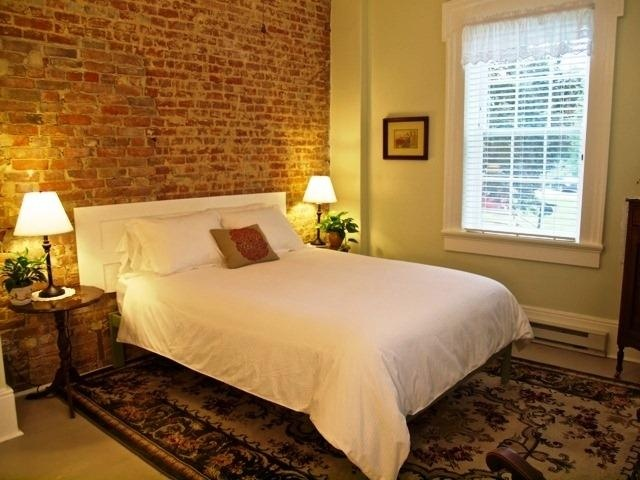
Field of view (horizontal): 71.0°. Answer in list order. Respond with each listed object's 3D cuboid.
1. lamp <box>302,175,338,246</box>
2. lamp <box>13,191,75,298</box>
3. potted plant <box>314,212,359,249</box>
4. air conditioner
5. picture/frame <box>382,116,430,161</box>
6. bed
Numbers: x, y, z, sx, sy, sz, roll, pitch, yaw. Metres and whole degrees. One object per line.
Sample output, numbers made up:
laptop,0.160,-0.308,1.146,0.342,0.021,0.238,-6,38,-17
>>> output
lamp,-0.013,-0.355,5.587,0.472,0.834,0.448,1,8,-6
lamp,-2.147,0.030,3.486,0.354,0.803,0.424,-14,19,-40
potted plant,0.215,-0.107,5.557,0.583,0.376,0.550,2,-5,16
air conditioner,2.331,0.949,4.445,0.731,0.222,0.090,13,-17,-14
picture/frame,1.020,-1.191,5.223,0.585,0.456,0.047,7,14,38
bed,-0.379,0.487,3.522,2.665,1.007,2.192,11,17,39
